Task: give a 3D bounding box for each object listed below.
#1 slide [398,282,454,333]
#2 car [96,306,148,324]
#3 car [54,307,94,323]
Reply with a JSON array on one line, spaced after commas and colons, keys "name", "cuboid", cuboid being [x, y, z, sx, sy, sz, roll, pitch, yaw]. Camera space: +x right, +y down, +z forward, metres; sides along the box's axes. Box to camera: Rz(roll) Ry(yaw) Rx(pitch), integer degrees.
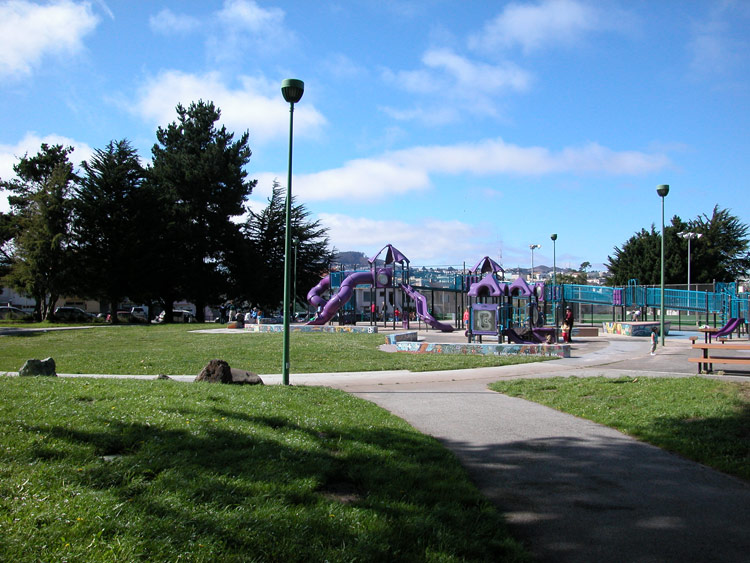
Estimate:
[{"name": "slide", "cuboid": [3.713, 1.853, 48.399, 3.064, 3.660, 3.108, -5, -1, 31]}, {"name": "car", "cuboid": [-27.610, 3.616, 74.458, 4.538, 1.853, 1.582, -2, -1, 16]}, {"name": "car", "cuboid": [-30.310, 3.321, 68.138, 2.682, 1.209, 1.403, 0, 3, -9]}]
